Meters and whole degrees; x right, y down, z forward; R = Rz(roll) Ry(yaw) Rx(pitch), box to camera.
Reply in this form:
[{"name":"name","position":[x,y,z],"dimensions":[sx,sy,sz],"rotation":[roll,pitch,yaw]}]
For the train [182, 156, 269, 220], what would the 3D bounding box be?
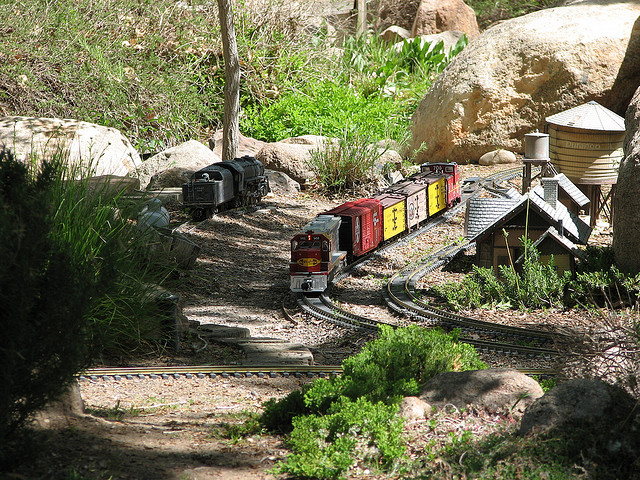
[{"name":"train","position":[-2.600,-1.411,27.859],"dimensions":[1.324,1.630,3.363],"rotation":[7,7,10]}]
